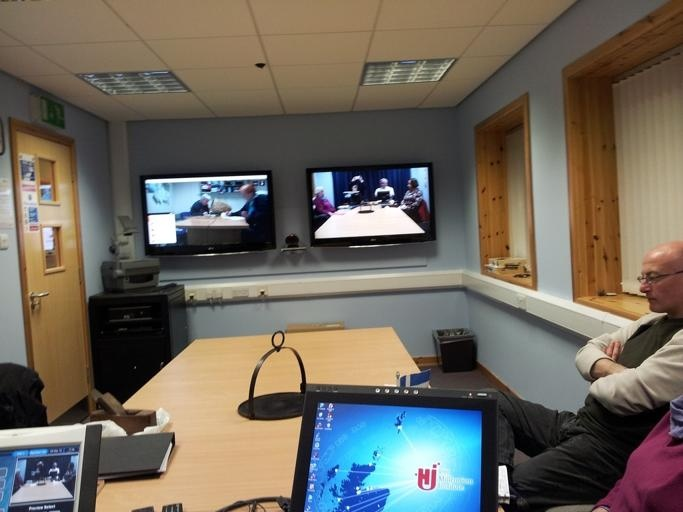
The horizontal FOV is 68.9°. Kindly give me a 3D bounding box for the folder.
[{"bbox_3d":[-0.868,0.841,2.107,0.211,0.054,0.229,-2,12,-9],"label":"folder"}]

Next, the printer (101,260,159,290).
[{"bbox_3d":[-2.094,0.182,4.948,0.314,0.311,0.457,1,3,34],"label":"printer"}]

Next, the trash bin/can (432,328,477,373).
[{"bbox_3d":[1.232,0.983,5.404,0.446,0.355,0.397,-1,-4,-6],"label":"trash bin/can"}]
